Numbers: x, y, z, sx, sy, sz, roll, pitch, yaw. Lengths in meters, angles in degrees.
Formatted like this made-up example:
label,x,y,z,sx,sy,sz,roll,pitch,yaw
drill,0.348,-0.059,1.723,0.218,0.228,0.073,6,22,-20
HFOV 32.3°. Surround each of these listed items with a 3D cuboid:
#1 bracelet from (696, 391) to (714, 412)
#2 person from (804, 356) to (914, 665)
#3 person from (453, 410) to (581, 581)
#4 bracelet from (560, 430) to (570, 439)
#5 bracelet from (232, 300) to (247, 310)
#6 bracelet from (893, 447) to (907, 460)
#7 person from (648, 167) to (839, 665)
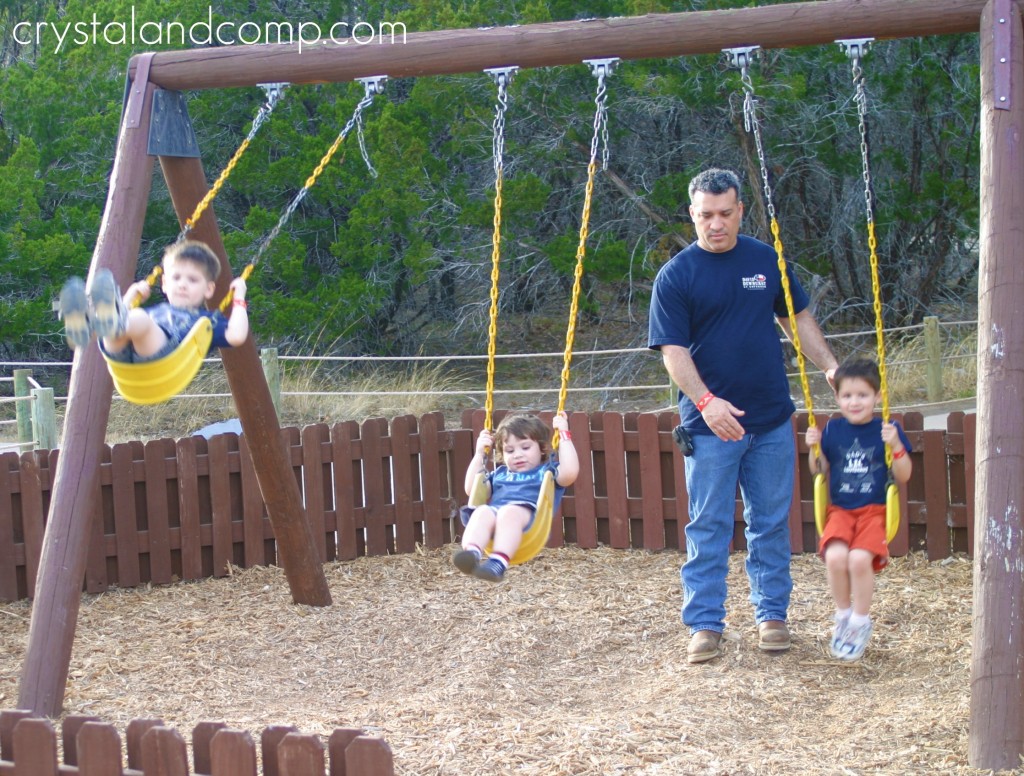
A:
label,x,y,z,sx,sy,sz,roll,pitch,yaw
bracelet,1.212,0.070,11.184,0.043,0.116,0.114,33,19,24
person,2.327,0.756,11.569,0.548,1.879,0.800,0,0,20
person,-0.001,0.670,11.438,0.597,0.582,1.225,-4,29,28
bracelet,0.342,0.298,11.426,0.048,0.033,0.051,4,30,21
bracelet,-1.772,-0.556,11.570,0.064,0.052,0.065,-2,5,-20
bracelet,2.458,0.409,11.254,0.078,0.060,0.082,-2,9,-4
person,1.362,0.165,11.432,0.896,3.138,0.623,-2,12,5
